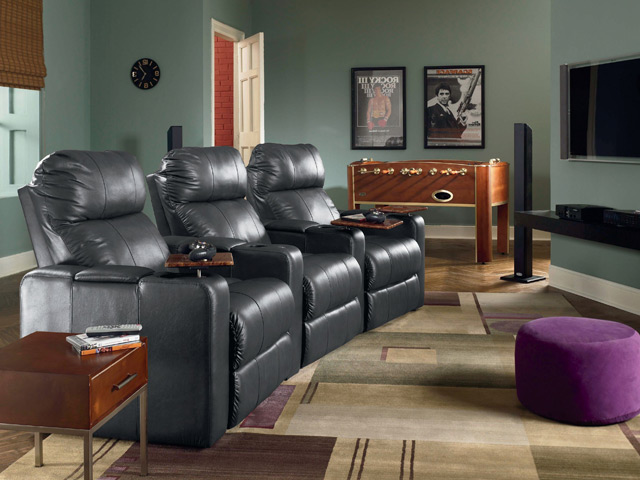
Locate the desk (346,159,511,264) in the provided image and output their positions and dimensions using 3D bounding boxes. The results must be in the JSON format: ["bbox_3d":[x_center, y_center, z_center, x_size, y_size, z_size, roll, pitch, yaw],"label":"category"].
[{"bbox_3d":[1.402,-0.445,6.255,1.973,1.250,0.916,6,14,36],"label":"desk"}]

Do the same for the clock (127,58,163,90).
[{"bbox_3d":[-2.150,-2.079,6.035,0.405,0.431,0.058,2,2,7],"label":"clock"}]

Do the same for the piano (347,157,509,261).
[{"bbox_3d":[1.370,-0.430,6.204,1.902,1.202,0.931,5,12,35],"label":"piano"}]

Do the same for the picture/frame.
[{"bbox_3d":[1.485,-1.960,7.025,1.368,0.895,0.050,0,5,10],"label":"picture/frame"}]
